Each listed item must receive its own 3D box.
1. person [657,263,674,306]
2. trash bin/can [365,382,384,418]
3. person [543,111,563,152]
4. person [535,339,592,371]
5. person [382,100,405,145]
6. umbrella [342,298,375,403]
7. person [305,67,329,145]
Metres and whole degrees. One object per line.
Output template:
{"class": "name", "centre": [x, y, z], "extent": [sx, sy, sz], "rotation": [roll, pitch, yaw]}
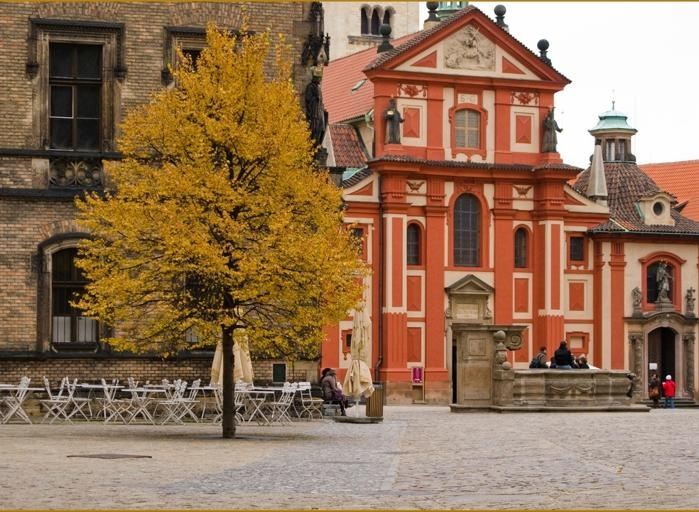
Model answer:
{"class": "person", "centre": [12.865, 1.125, 70.276], "extent": [0.937, 1.698, 0.414], "rotation": [5, -8, -37]}
{"class": "trash bin/can", "centre": [0.716, 4.146, 48.676], "extent": [0.461, 1.017, 0.630], "rotation": [1, -6, -3]}
{"class": "person", "centre": [7.810, -4.965, 66.703], "extent": [0.660, 1.842, 1.007], "rotation": [0, -6, 5]}
{"class": "person", "centre": [6.674, 3.347, 55.076], "extent": [1.211, 0.714, 1.605], "rotation": [0, -3, 14]}
{"class": "person", "centre": [1.676, -5.122, 64.958], "extent": [0.725, 1.661, 0.603], "rotation": [1, -6, 1]}
{"class": "umbrella", "centre": [0.256, 2.734, 49.342], "extent": [0.864, 2.797, 1.787], "rotation": [1, -6, 0]}
{"class": "person", "centre": [-0.992, -4.401, 50.101], "extent": [0.594, 2.451, 1.132], "rotation": [1, -6, -1]}
